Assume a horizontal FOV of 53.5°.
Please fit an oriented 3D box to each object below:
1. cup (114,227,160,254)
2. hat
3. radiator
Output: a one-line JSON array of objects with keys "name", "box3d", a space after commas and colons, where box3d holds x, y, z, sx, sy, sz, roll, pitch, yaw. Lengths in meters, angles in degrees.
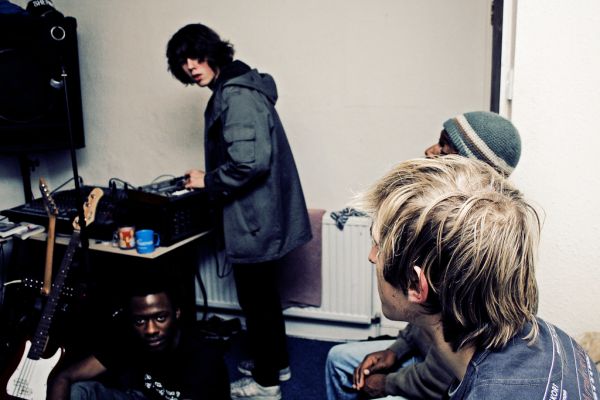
[{"name": "cup", "box3d": [-0.904, 0.215, 3.265, 0.217, 0.136, 0.122, 6, 5, 2]}, {"name": "hat", "box3d": [0.751, -0.250, 2.553, 0.277, 0.229, 0.255, 24, 29, -1]}, {"name": "radiator", "box3d": [-0.024, 0.422, 3.579, 0.764, 0.451, 0.065, 1, 6, 18]}]
